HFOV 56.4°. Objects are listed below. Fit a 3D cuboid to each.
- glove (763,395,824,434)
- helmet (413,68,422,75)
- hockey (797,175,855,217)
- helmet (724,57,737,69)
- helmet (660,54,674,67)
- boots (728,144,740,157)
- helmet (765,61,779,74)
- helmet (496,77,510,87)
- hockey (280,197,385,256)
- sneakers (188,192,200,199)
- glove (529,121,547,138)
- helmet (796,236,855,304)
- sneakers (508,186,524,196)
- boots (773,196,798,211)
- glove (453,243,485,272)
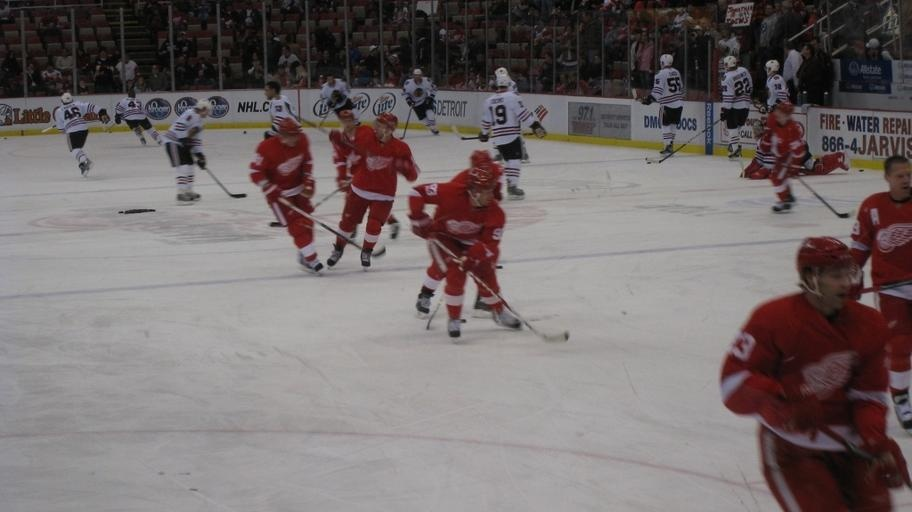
[{"bbox_3d":[2.069,0.979,5.229,0.279,0.071,0.263,3,17,20],"label":"glove"},{"bbox_3d":[-0.997,-4.788,22.020,0.341,0.151,0.488,0,9,0],"label":"helmet"},{"bbox_3d":[5.423,-0.837,12.612,0.448,0.374,2.014,3,11,16],"label":"hockey"},{"bbox_3d":[5.444,-3.870,16.949,0.241,0.258,0.469,3,11,17],"label":"helmet"},{"bbox_3d":[4.382,-4.093,17.803,0.222,0.284,0.303,2,12,12],"label":"helmet"},{"bbox_3d":[5.596,-2.114,17.131,0.189,0.249,0.276,-4,-2,6],"label":"boots"},{"bbox_3d":[5.933,-3.595,16.115,0.302,0.230,0.217,7,11,19],"label":"helmet"},{"bbox_3d":[0.832,-3.069,14.963,0.196,0.152,0.208,-1,11,-3],"label":"helmet"},{"bbox_3d":[-1.593,-0.356,11.039,1.459,0.353,0.186,24,49,-9],"label":"hockey"},{"bbox_3d":[-4.482,-1.042,14.579,0.173,0.145,0.378,-1,0,-27],"label":"sneakers"},{"bbox_3d":[1.441,-2.306,15.463,0.281,0.187,0.594,30,7,-11],"label":"glove"},{"bbox_3d":[2.236,0.058,5.180,0.432,0.352,0.325,3,4,19],"label":"helmet"},{"bbox_3d":[0.991,-1.109,14.272,0.353,0.197,0.105,-1,38,1],"label":"sneakers"},{"bbox_3d":[4.851,-0.778,12.670,0.374,0.210,0.263,-1,11,-1],"label":"boots"},{"bbox_3d":[0.147,-0.009,8.526,0.362,0.304,0.360,-1,11,0],"label":"glove"}]
